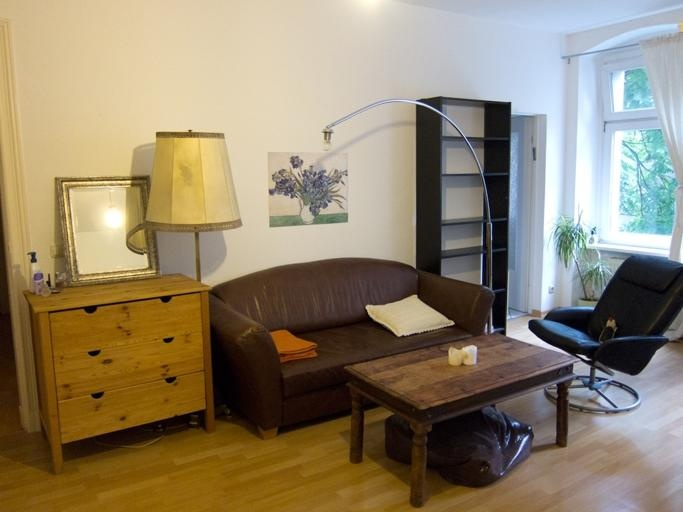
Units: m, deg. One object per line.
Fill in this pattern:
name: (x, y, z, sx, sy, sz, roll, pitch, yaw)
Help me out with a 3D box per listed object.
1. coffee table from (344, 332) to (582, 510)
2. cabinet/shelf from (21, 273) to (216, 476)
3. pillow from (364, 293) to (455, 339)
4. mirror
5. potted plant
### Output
coffee table: (0.636, 0.638, 3.279, 1.429, 0.650, 0.804, -10, 20, -31)
cabinet/shelf: (-1.523, 0.764, 3.661, 1.169, 1.078, 0.641, -5, 4, -35)
pillow: (0.594, 0.515, 4.391, 0.400, 0.097, 0.390, -10, 26, -23)
mirror: (-1.714, -0.163, 3.693, 0.748, 0.868, 0.065, -5, 2, -28)
potted plant: (2.848, 0.124, 6.052, 0.792, 1.118, 0.547, 1, -2, 12)
